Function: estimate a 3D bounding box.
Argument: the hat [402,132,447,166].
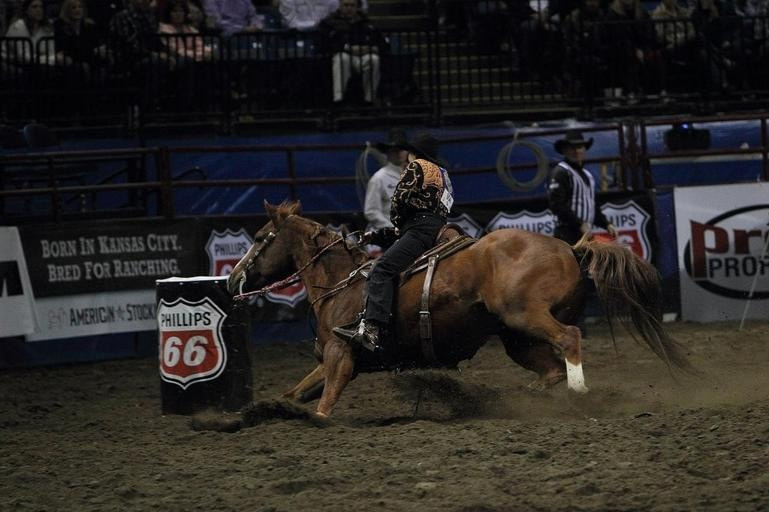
[{"bbox_3d":[0.435,-1.348,12.294,0.495,0.201,0.547,16,13,-40],"label":"hat"}]

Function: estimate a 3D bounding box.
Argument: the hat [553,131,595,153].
[{"bbox_3d":[2.584,-1.642,13.895,0.424,0.161,0.451,-1,-9,4],"label":"hat"}]
